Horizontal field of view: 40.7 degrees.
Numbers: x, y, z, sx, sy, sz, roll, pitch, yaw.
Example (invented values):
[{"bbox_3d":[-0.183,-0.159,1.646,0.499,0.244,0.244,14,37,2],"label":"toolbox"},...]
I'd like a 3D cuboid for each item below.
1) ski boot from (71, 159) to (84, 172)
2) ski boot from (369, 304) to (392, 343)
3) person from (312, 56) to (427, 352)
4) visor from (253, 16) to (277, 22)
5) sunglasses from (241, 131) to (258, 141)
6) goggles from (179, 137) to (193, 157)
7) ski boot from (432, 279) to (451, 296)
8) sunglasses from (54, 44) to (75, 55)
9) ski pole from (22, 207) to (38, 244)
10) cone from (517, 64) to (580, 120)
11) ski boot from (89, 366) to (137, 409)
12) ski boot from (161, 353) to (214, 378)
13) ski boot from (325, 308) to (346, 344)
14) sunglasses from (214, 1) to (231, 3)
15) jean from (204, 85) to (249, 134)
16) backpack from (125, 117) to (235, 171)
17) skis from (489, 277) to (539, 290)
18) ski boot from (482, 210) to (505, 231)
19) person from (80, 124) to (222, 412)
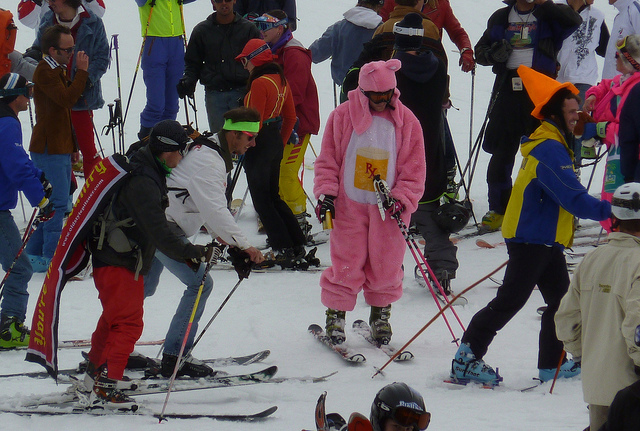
[{"bbox_3d":[-3.415,-0.690,12.258,0.120,0.174,0.683,2,3,-16],"label":"ski boot"},{"bbox_3d":[0.651,1.059,8.691,0.135,0.372,0.383,-2,5,7],"label":"ski boot"},{"bbox_3d":[0.462,-0.072,8.444,1.062,2.820,0.363,3,3,5],"label":"person"},{"bbox_3d":[-0.646,-2.238,9.977,0.146,0.039,0.101,2,2,-9],"label":"visor"},{"bbox_3d":[-0.650,-0.722,8.036,0.048,0.084,0.163,5,3,35],"label":"sunglasses"},{"bbox_3d":[-1.176,-0.584,7.573,0.087,0.153,0.114,18,-1,-25],"label":"goggles"},{"bbox_3d":[1.324,0.798,9.495,0.135,0.174,0.183,0,-6,-7],"label":"ski boot"},{"bbox_3d":[-2.762,-1.785,9.389,0.203,0.087,0.048,0,4,-44],"label":"sunglasses"},{"bbox_3d":[-3.270,0.140,9.775,0.065,0.569,0.040,42,26,21],"label":"ski pole"},{"bbox_3d":[2.051,-1.116,7.907,0.560,0.515,0.271,4,3,23],"label":"cone"},{"bbox_3d":[-1.772,1.502,7.534,0.490,0.470,0.217,0,7,-14],"label":"ski boot"},{"bbox_3d":[-1.220,1.387,8.011,0.514,0.229,0.186,-1,1,-8],"label":"ski boot"},{"bbox_3d":[0.151,1.096,8.572,0.187,0.329,0.193,2,3,0],"label":"ski boot"},{"bbox_3d":[-1.185,-2.598,10.608,0.176,0.029,0.052,2,3,0],"label":"sunglasses"},{"bbox_3d":[-1.211,-1.325,10.922,0.514,0.596,0.262,3,3,4],"label":"jean"},{"bbox_3d":[-1.332,-0.732,7.809,0.396,0.594,0.566,20,20,-48],"label":"backpack"},{"bbox_3d":[1.829,0.653,8.148,0.189,0.051,0.204,10,10,-6],"label":"skis"},{"bbox_3d":[2.173,0.078,10.965,0.283,0.264,0.137,4,3,30],"label":"ski boot"},{"bbox_3d":[-1.531,0.453,7.453,0.923,2.475,0.358,1,3,-16],"label":"person"}]
